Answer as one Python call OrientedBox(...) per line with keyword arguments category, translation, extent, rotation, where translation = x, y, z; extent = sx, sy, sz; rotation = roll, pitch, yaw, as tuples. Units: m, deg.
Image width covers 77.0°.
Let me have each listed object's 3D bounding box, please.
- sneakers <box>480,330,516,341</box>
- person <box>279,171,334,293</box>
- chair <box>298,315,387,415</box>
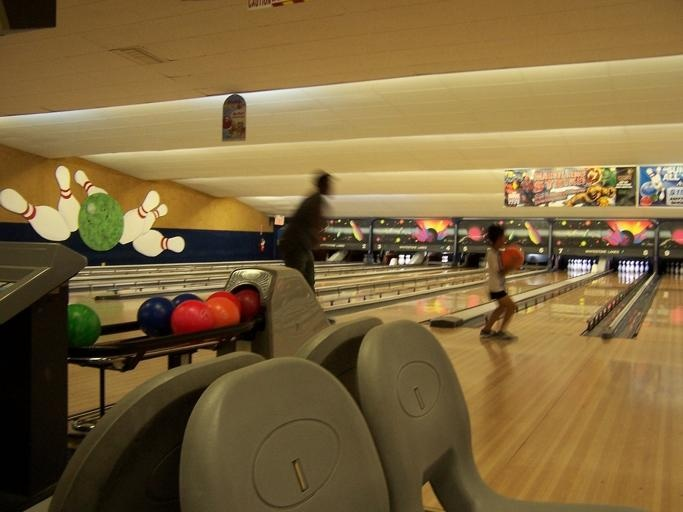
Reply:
OrientedBox(category="sneakers", translation=(1.559, 0.777, 4.298), extent=(0.343, 0.135, 0.117), rotation=(0, -1, 10))
OrientedBox(category="person", translation=(-0.263, -0.209, 3.252), extent=(0.413, 0.936, 0.509), rotation=(-2, 2, -3))
OrientedBox(category="chair", translation=(0.055, 0.279, 1.110), extent=(0.225, 0.195, 0.187), rotation=(-16, 17, 32))
